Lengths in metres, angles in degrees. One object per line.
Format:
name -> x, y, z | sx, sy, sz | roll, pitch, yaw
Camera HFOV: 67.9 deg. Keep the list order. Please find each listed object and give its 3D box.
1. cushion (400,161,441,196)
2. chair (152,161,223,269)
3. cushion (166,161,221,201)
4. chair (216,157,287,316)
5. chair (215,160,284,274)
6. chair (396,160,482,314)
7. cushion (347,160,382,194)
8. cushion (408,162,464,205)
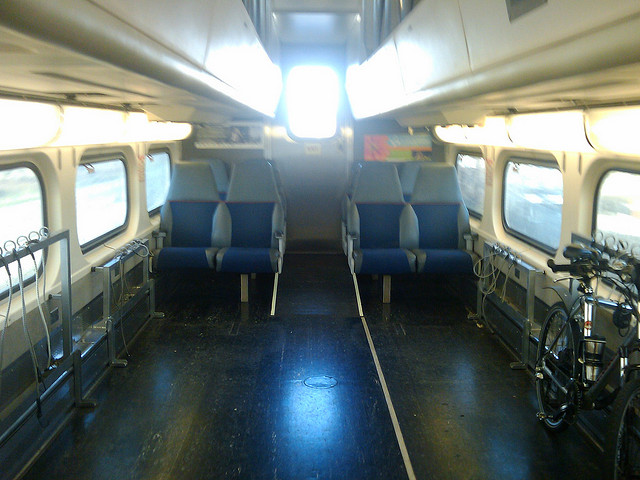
cushion -> 1.704, -1.093, 8.260 | 0.579, 0.583, 0.623 | 1, 6, 6
chair -> -1.661, -0.342, 6.078 | 0.862, 1.438, 1.101 | -1, -1, -2
cushion -> -1.691, -0.770, 6.529 | 0.564, 0.478, 0.521 | 0, 9, -4
chair -> -0.900, -0.066, 6.138 | 0.801, 1.849, 0.984 | 3, 11, 4
chair -> -0.892, -0.340, 6.034 | 0.861, 1.482, 1.154 | 0, 2, -4
chair -> 1.644, -0.120, 6.400 | 0.896, 1.753, 1.801 | 2, 12, 8
cushion -> 0.634, -0.878, 6.684 | 0.589, 0.648, 0.146 | 2, -15, 11
cushion -> 1.561, -0.710, 6.310 | 0.517, 0.470, 0.615 | -1, 4, -5
